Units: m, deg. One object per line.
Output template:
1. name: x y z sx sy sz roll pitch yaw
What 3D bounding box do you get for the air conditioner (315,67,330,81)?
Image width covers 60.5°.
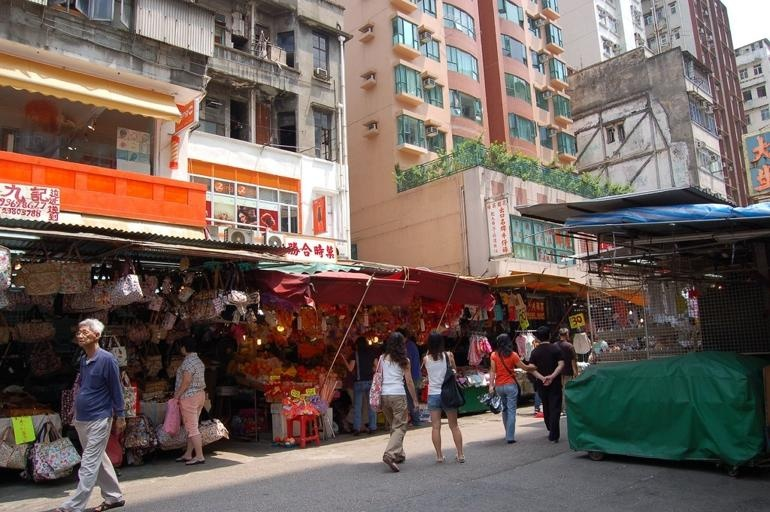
1. air conditioner: -2.302 -6.547 23.761 0.306 0.366 0.574 -15 -11 31

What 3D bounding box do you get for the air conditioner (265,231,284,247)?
1. air conditioner: -3.317 -0.498 19.655 0.152 0.408 0.467 -13 -16 34

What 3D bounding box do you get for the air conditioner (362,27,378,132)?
1. air conditioner: -0.624 -7.319 27.155 0.813 4.169 0.499 0 4 38

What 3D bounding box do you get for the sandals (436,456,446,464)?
1. sandals: 1.020 3.787 12.287 0.155 0.126 0.232 -4 -7 4

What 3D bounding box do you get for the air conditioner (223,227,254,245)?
1. air conditioner: -4.096 -0.607 18.552 0.705 0.501 1.017 -3 -7 -8

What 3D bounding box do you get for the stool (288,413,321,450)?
1. stool: -1.756 3.766 14.285 0.697 0.647 0.684 -3 2 -31

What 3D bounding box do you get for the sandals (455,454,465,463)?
1. sandals: 1.391 3.788 12.307 0.117 0.128 0.332 0 -10 0
